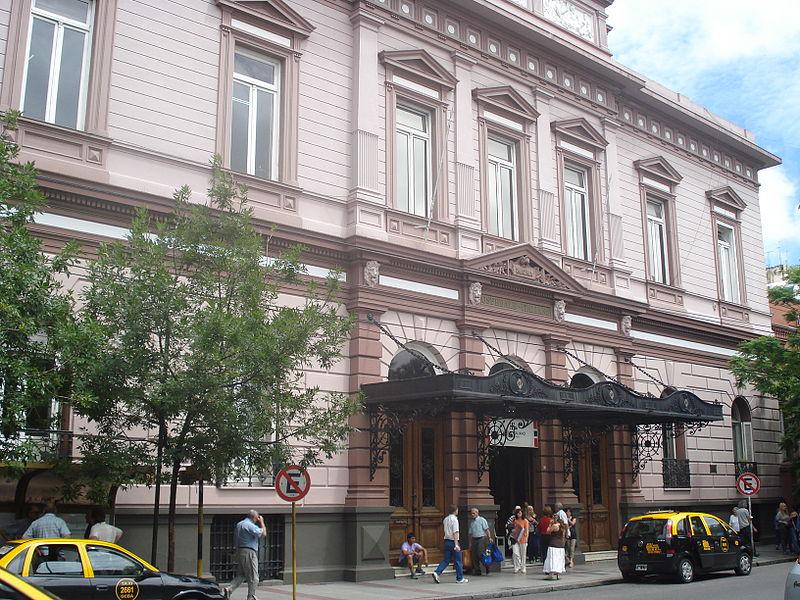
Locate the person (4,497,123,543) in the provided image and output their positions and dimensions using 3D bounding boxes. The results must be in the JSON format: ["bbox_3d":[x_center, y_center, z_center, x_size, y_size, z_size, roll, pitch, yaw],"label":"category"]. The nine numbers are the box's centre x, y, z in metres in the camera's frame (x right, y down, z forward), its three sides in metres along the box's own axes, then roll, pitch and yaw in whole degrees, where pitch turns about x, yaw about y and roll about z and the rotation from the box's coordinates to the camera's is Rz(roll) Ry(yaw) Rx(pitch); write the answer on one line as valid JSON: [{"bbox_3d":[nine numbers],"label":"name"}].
[{"bbox_3d":[-7.015,4.713,20.165,1.883,0.898,1.526,11,-19,-38],"label":"person"}]

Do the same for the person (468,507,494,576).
[{"bbox_3d":[2.290,6.853,26.747,0.580,1.828,0.867,-1,-14,2],"label":"person"}]

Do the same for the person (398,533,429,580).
[{"bbox_3d":[0.379,7.157,26.396,0.630,1.176,0.905,-8,-16,28],"label":"person"}]

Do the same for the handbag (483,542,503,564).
[{"bbox_3d":[2.670,7.258,26.992,0.750,0.745,0.290,13,-26,-38],"label":"handbag"}]

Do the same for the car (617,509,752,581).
[{"bbox_3d":[8.038,6.939,26.594,3.204,1.486,1.956,7,-16,-31],"label":"car"}]

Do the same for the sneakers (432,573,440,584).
[{"bbox_3d":[1.024,7.525,25.309,0.119,0.146,0.343,-2,-43,29],"label":"sneakers"}]
